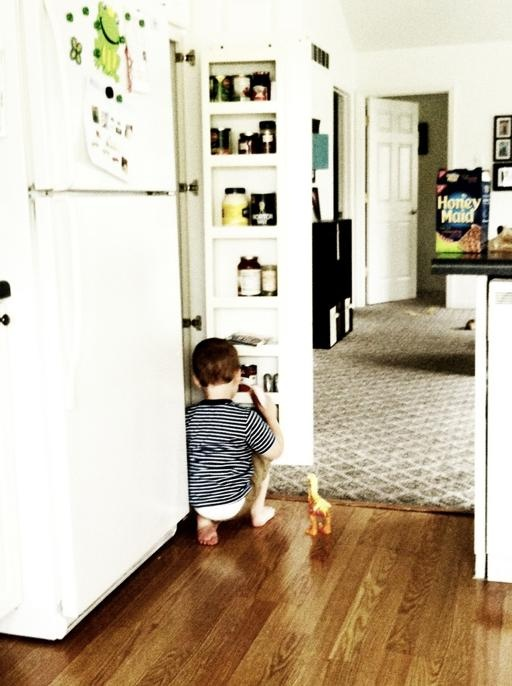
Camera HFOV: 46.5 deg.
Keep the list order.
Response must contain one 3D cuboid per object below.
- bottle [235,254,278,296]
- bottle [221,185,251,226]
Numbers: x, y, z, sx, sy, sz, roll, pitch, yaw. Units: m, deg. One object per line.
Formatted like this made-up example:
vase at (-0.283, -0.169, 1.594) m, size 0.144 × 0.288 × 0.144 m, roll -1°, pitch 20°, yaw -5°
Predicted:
bottle at (0.000, -0.267, 2.434) m, size 0.193 × 0.194 × 0.110 m, roll -1°, pitch 8°, yaw -7°
bottle at (-0.078, -0.542, 2.368) m, size 0.109 × 0.159 × 0.143 m, roll 1°, pitch 5°, yaw 4°
